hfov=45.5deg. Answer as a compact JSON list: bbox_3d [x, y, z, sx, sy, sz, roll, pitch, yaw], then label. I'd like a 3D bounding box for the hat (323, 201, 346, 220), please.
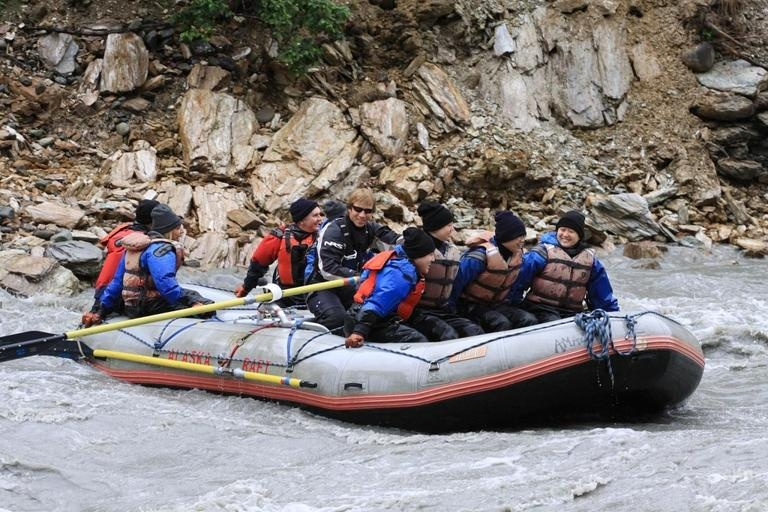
[{"bbox_3d":[-0.718,-0.653,13.158,0.357,0.291,0.249,-6,16,-10],"label":"hat"}]

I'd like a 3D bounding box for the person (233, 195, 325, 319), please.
[{"bbox_3d":[-1.624,0.073,14.010,1.607,2.214,0.947,-18,36,-37],"label":"person"}]

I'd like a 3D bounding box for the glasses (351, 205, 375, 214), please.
[{"bbox_3d":[-0.293,-0.632,12.608,0.300,0.110,0.141,1,1,-13],"label":"glasses"}]

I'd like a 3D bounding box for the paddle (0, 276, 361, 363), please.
[{"bbox_3d":[-2.746,0.915,12.776,3.952,0.534,0.352,-10,42,-6],"label":"paddle"}]

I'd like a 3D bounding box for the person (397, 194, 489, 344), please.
[{"bbox_3d":[0.800,0.203,12.101,1.251,1.723,1.228,1,14,-38],"label":"person"}]

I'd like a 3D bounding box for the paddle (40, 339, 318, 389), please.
[{"bbox_3d":[-2.639,1.457,12.386,2.480,0.242,0.414,6,39,14],"label":"paddle"}]

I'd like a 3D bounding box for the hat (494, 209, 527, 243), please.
[{"bbox_3d":[1.682,-0.414,12.103,0.470,0.364,0.353,-4,10,32],"label":"hat"}]

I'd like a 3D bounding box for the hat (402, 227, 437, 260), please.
[{"bbox_3d":[0.451,-0.222,11.801,0.449,0.297,0.303,3,25,19],"label":"hat"}]

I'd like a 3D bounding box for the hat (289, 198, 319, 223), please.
[{"bbox_3d":[-1.165,-0.661,13.223,0.390,0.279,0.346,-16,8,4],"label":"hat"}]

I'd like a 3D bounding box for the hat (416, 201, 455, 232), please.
[{"bbox_3d":[0.706,-0.541,12.131,0.502,0.361,0.345,-3,16,13],"label":"hat"}]

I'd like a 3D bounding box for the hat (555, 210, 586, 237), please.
[{"bbox_3d":[2.524,-0.426,12.253,0.388,0.363,0.230,1,1,-19],"label":"hat"}]
